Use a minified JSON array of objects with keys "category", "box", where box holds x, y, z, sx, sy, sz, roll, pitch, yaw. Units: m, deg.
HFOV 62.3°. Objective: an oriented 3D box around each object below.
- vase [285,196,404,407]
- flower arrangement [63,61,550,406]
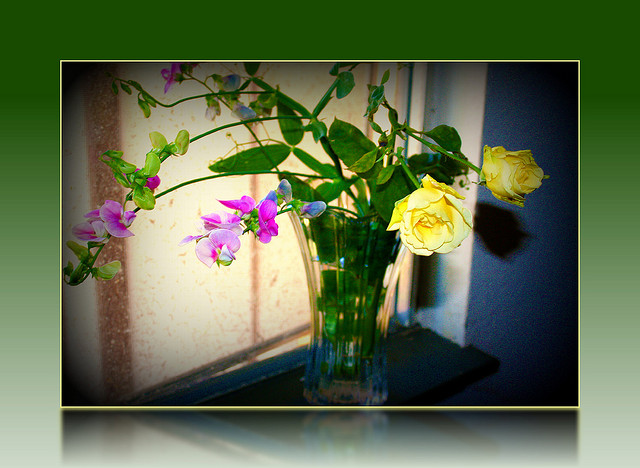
[{"category":"vase","box":[0.042,0.134,0.996,0.254,0.366,0.229,4,-15,-6]},{"category":"flower arrangement","box":[-0.027,-0.004,1.124,0.760,0.505,0.616,3,5,2]}]
